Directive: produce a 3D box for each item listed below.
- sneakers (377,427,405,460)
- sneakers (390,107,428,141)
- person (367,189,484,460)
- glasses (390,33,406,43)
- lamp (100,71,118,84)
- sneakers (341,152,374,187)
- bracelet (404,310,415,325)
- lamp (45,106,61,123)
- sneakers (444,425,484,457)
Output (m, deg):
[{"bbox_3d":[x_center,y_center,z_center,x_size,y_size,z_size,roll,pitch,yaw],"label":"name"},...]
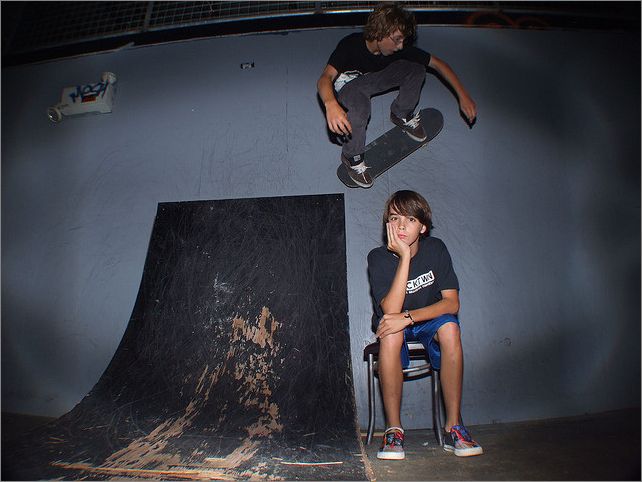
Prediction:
[{"bbox_3d":[0.508,1.433,3.350,0.158,0.205,0.464,0,-14,13],"label":"sneakers"},{"bbox_3d":[0.818,-1.071,4.478,0.369,0.193,0.157,46,-1,11],"label":"sneakers"},{"bbox_3d":[0.739,0.582,3.441,0.664,1.721,0.972,7,12,-11],"label":"person"},{"bbox_3d":[0.642,-1.695,3.997,0.120,0.066,0.056,12,12,2],"label":"glasses"},{"bbox_3d":[-2.140,-1.655,4.842,0.129,0.132,0.100,-32,33,-23],"label":"lamp"},{"bbox_3d":[0.332,-0.621,4.314,0.156,0.421,0.177,-27,-12,0],"label":"sneakers"},{"bbox_3d":[0.630,0.547,3.402,0.057,0.080,0.019,-16,-15,-43],"label":"bracelet"},{"bbox_3d":[-2.718,-1.282,4.844,0.160,0.164,0.071,12,12,5],"label":"lamp"},{"bbox_3d":[0.950,1.358,3.229,0.123,0.135,0.291,-3,-14,-19],"label":"sneakers"}]
